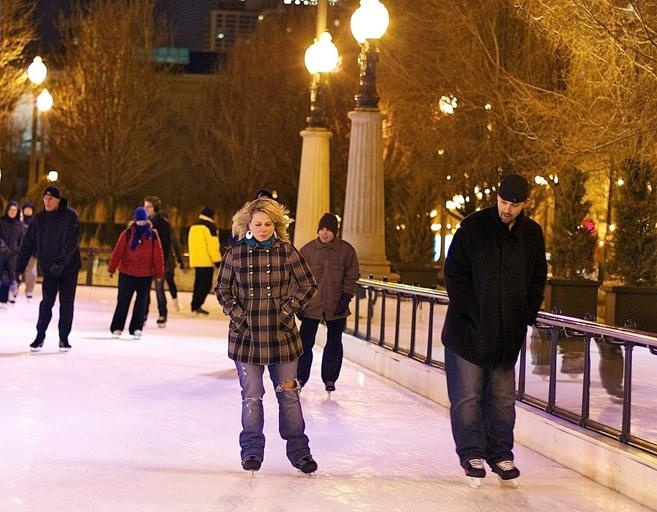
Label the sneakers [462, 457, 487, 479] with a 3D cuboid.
[{"bbox_3d":[1.101,1.588,4.943,0.160,0.141,0.117,1,0,2],"label":"sneakers"}]

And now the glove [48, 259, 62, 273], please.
[{"bbox_3d":[-4.114,0.169,9.813,0.222,0.248,0.154,1,0,-18],"label":"glove"}]

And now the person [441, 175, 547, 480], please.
[{"bbox_3d":[1.270,0.552,5.078,0.776,2.121,0.446,1,0,16],"label":"person"}]

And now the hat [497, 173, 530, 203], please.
[{"bbox_3d":[1.424,-0.521,5.011,0.194,0.240,0.195,5,-37,-5],"label":"hat"}]

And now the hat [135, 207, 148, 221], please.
[{"bbox_3d":[-3.307,-0.759,11.527,0.166,0.222,0.242,-1,21,-11],"label":"hat"}]

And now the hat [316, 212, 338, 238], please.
[{"bbox_3d":[0.007,-0.387,7.995,0.208,0.280,0.281,10,3,9],"label":"hat"}]

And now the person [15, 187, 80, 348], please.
[{"bbox_3d":[-4.285,0.217,10.025,0.834,2.686,0.848,1,0,-26],"label":"person"}]

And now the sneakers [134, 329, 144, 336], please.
[{"bbox_3d":[-3.624,1.430,12.390,0.130,0.110,0.253,-1,-9,-4],"label":"sneakers"}]

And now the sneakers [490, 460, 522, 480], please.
[{"bbox_3d":[1.351,1.616,4.957,0.093,0.130,0.294,-22,-7,-13],"label":"sneakers"}]

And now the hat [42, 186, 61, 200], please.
[{"bbox_3d":[-4.146,-0.967,9.785,0.211,0.182,0.215,2,5,-31],"label":"hat"}]

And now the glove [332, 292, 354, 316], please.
[{"bbox_3d":[0.178,0.591,8.015,0.083,0.289,0.198,19,-5,-24],"label":"glove"}]

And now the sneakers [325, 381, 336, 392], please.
[{"bbox_3d":[0.017,1.621,8.157,0.102,0.126,0.128,0,6,1],"label":"sneakers"}]

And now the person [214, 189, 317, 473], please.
[{"bbox_3d":[-0.491,0.606,5.183,0.822,2.133,0.416,1,0,-6],"label":"person"}]
